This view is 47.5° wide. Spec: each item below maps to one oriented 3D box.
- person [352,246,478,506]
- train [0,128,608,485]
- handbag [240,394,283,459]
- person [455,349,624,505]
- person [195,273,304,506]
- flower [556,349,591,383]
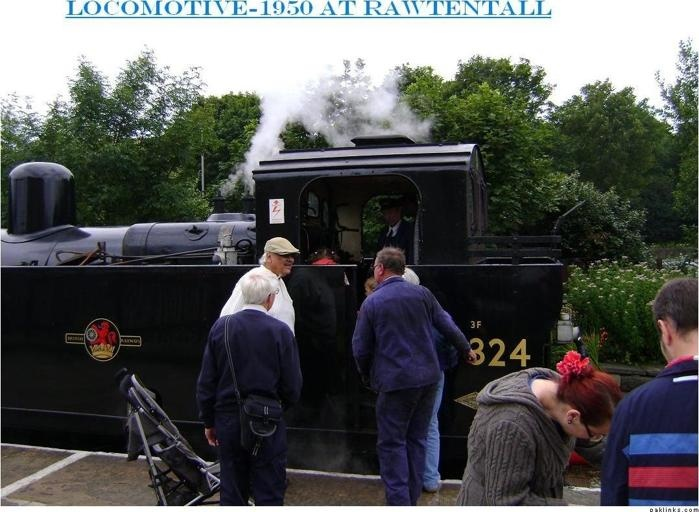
[{"bbox_3d":[0.506,1.153,7.551,0.909,2.389,0.542,2,3,17],"label":"person"},{"bbox_3d":[-1.961,0.386,11.303,10.348,4.982,2.979,1,-3,19],"label":"train"},{"bbox_3d":[-0.804,1.495,7.038,0.500,0.605,0.352,7,-7,-15],"label":"handbag"},{"bbox_3d":[1.472,1.365,6.390,0.896,1.477,0.721,18,46,8],"label":"person"},{"bbox_3d":[-0.911,1.202,7.157,0.925,2.090,0.444,1,3,-10],"label":"person"},{"bbox_3d":[1.714,0.827,6.096,0.251,0.227,0.310,1,3,5],"label":"flower"}]
